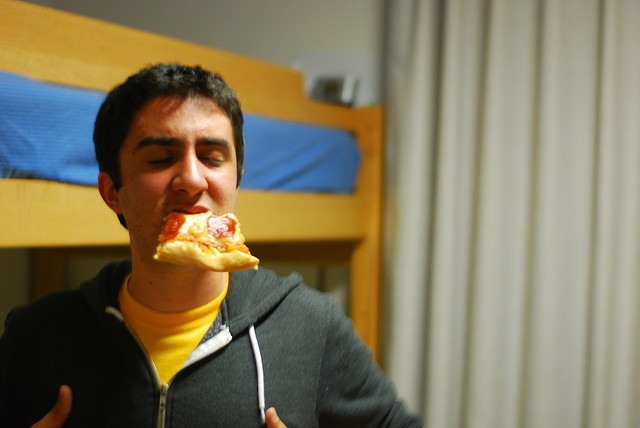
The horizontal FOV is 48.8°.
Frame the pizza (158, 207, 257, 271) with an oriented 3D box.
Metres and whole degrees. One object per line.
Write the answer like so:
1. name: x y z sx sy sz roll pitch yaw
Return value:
1. pizza: -0.392 0.080 2.552 0.267 0.256 0.083 -2 -29 -16
